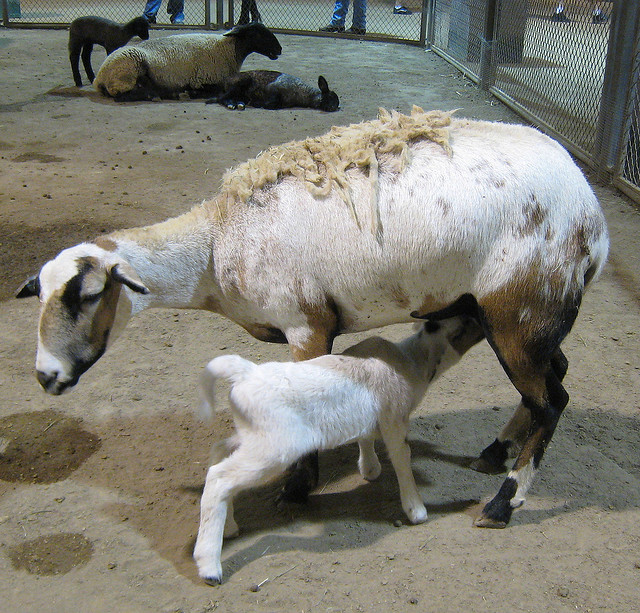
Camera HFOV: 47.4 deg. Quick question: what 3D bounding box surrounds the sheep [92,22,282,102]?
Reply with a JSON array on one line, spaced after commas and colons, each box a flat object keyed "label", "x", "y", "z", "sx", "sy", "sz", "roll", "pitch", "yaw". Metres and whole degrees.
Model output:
[{"label": "sheep", "x": -2.054, "y": -3.747, "z": 11.196, "sx": 3.469, "sy": 1.234, "sz": 1.022, "roll": -6, "pitch": 36, "yaw": -19}]

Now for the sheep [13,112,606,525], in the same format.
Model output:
[{"label": "sheep", "x": -0.007, "y": 0.012, "z": 3.588, "sx": 2.736, "sy": 1.596, "sz": 0.874, "roll": -2, "pitch": 20, "yaw": 6}]
